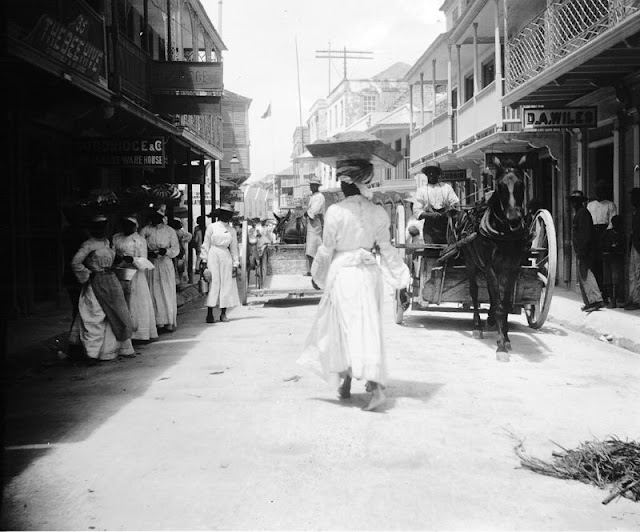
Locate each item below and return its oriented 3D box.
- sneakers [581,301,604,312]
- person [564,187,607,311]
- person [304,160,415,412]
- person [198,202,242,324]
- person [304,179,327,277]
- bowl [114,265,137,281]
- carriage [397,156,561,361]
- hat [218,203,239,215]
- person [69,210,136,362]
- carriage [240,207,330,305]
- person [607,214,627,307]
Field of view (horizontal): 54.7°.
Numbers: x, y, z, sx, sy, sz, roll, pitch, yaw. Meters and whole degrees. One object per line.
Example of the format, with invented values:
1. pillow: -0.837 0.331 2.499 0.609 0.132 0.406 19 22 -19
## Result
1. sneakers: 4.992 0.741 11.377 0.152 0.207 0.444 -7 0 -19
2. person: 4.933 -0.295 11.490 0.590 2.248 0.788 1 3 25
3. person: 0.293 0.124 6.040 0.844 2.359 0.777 1 3 27
4. person: -1.858 -0.066 11.500 0.485 2.153 0.922 1 3 27
5. person: -0.209 -0.906 14.299 0.516 2.254 0.638 5 -2 -16
6. bowl: -2.670 0.101 8.507 0.211 0.162 0.162 -3 4 -40
7. carriage: 2.615 -0.177 9.373 1.816 2.546 3.845 2 6 7
8. hat: -1.753 -1.151 11.710 0.279 0.101 0.285 22 -17 33
9. person: -2.769 0.289 7.857 0.718 1.855 0.360 -2 3 -24
10. carriage: -0.871 -0.563 15.457 1.753 1.705 3.033 -27 1 -21
11. person: 5.584 -0.098 11.752 0.355 1.711 0.784 1 3 27
